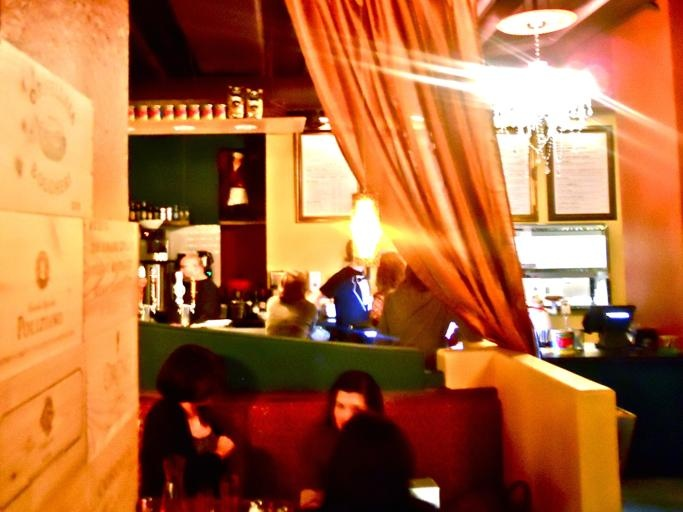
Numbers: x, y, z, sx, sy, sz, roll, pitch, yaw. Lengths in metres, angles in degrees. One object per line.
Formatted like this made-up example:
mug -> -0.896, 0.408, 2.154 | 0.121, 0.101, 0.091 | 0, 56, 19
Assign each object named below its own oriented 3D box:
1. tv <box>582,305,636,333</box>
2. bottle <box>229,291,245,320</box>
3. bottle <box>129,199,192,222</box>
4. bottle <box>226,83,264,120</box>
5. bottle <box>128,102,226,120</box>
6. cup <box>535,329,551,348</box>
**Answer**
tv -> 1.808, 0.470, 4.164 | 0.275, 0.180, 0.205 | 0, -10, 5
bottle -> -0.887, 0.410, 5.232 | 0.130, 0.146, 0.365 | 2, 2, -10
bottle -> -1.591, -0.392, 5.408 | 0.524, 0.187, 0.383 | 2, 2, -17
bottle -> -0.756, -1.192, 4.768 | 0.268, 0.251, 0.263 | 1, -3, -13
bottle -> -1.263, -1.124, 4.797 | 0.787, 0.168, 0.181 | 2, 2, -3
cup -> 1.318, 0.542, 4.059 | 0.087, 0.110, 0.192 | 3, 2, 40
